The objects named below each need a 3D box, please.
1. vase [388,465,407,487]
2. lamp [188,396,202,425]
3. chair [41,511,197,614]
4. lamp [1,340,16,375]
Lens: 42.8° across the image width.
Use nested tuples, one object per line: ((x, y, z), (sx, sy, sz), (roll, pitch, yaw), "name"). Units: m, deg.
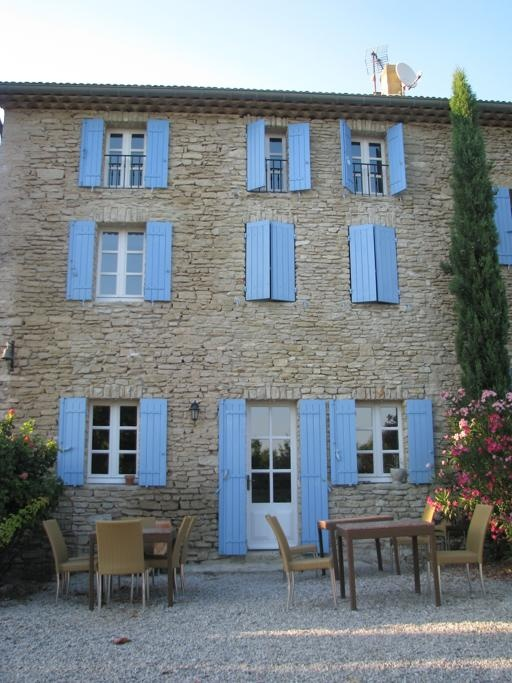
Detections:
((2.078, 1.987, 9.612), (0.226, 0.235, 0.225), (-4, -11, 25), "vase")
((-0.884, 1.007, 9.338), (0.165, 0.365, 0.150), (-1, -11, -6), "lamp")
((-1.424, 2.220, 6.699), (1.501, 0.864, 1.490), (-1, -10, -6), "chair")
((-3.560, 0.206, 9.337), (0.182, 0.475, 0.199), (2, -12, -21), "lamp")
